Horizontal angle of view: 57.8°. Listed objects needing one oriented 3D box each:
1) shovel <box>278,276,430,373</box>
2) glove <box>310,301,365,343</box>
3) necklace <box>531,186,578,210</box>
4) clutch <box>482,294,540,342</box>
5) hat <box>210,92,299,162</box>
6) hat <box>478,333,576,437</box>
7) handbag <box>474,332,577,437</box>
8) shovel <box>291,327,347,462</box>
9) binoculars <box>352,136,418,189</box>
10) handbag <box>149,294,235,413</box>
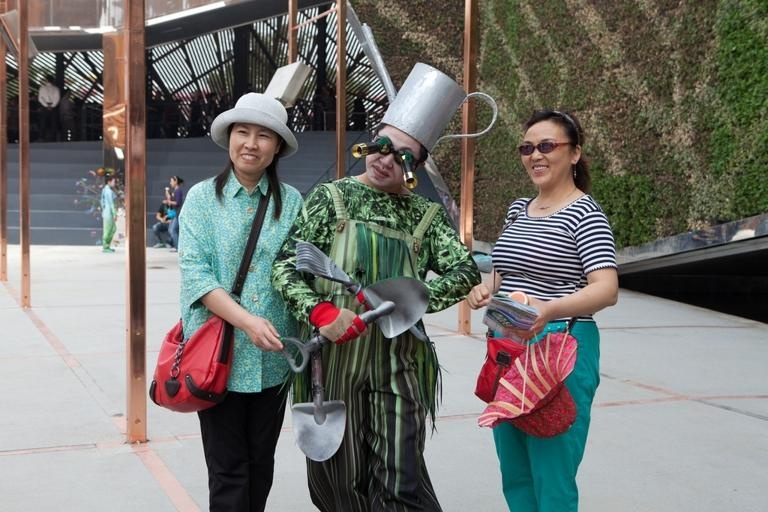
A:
[{"bbox_3d":[-0.141,0.423,4.039,1.030,0.400,0.150,-37,1,-1],"label":"shovel"},{"bbox_3d":[-0.261,0.384,3.872,0.325,0.213,0.104,3,4,5],"label":"glove"},{"bbox_3d":[1.097,-0.357,4.411,0.173,0.056,0.174,-25,8,-25],"label":"necklace"},{"bbox_3d":[0.730,0.385,4.080,0.285,0.227,0.231,18,-4,7],"label":"clutch"},{"bbox_3d":[-0.775,-0.840,4.259,0.426,0.243,0.387,24,-34,-29],"label":"hat"},{"bbox_3d":[0.871,0.779,4.240,0.591,0.658,0.286,3,4,-1],"label":"hat"},{"bbox_3d":[0.874,0.753,4.176,0.523,0.830,0.307,15,-1,25],"label":"handbag"},{"bbox_3d":[-0.377,0.766,4.003,0.269,0.752,0.325,0,0,-10],"label":"shovel"},{"bbox_3d":[0.042,-0.573,4.057,0.311,0.119,0.316,30,35,6],"label":"binoculars"},{"bbox_3d":[-1.166,0.632,4.221,0.468,0.658,0.262,-9,-24,26],"label":"handbag"}]
